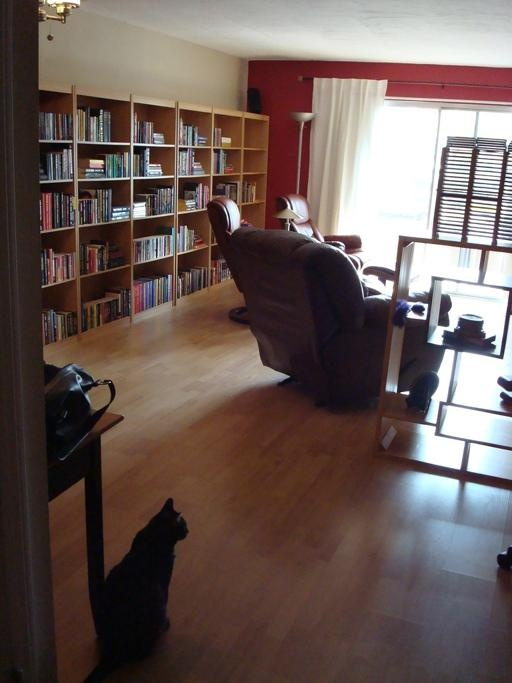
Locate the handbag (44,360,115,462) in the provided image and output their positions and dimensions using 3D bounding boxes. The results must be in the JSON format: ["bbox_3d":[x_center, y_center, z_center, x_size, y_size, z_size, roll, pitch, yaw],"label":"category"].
[{"bbox_3d":[-0.376,0.144,1.137,0.138,0.159,0.194,-4,16,-17],"label":"handbag"}]
